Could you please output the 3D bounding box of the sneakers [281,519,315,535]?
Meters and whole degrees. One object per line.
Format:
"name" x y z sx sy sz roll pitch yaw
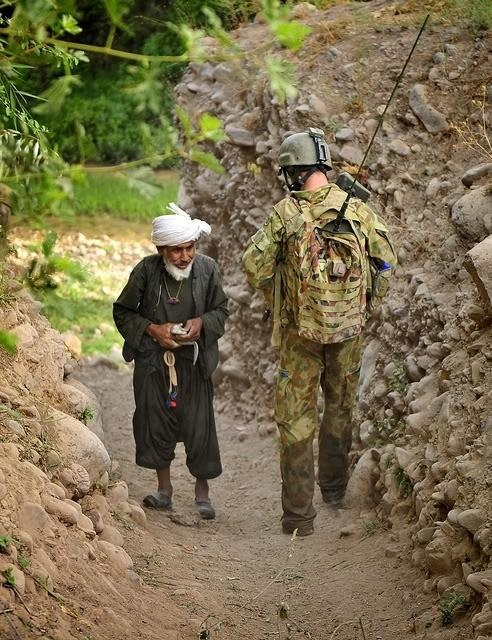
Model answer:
"sneakers" 0.292 1.186 4.484 0.147 0.059 0.108 -7 -12 28

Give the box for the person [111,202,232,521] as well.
"person" -0.461 0.258 4.798 0.598 1.913 0.446 4 10 21

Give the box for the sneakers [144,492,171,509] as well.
"sneakers" -0.532 1.123 4.844 0.185 0.062 0.075 15 7 -38

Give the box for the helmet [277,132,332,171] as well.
"helmet" 0.326 -0.909 4.219 0.272 0.149 0.218 2 11 13

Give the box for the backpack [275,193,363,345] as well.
"backpack" 0.356 -0.246 4.132 0.519 0.802 0.343 3 10 18
